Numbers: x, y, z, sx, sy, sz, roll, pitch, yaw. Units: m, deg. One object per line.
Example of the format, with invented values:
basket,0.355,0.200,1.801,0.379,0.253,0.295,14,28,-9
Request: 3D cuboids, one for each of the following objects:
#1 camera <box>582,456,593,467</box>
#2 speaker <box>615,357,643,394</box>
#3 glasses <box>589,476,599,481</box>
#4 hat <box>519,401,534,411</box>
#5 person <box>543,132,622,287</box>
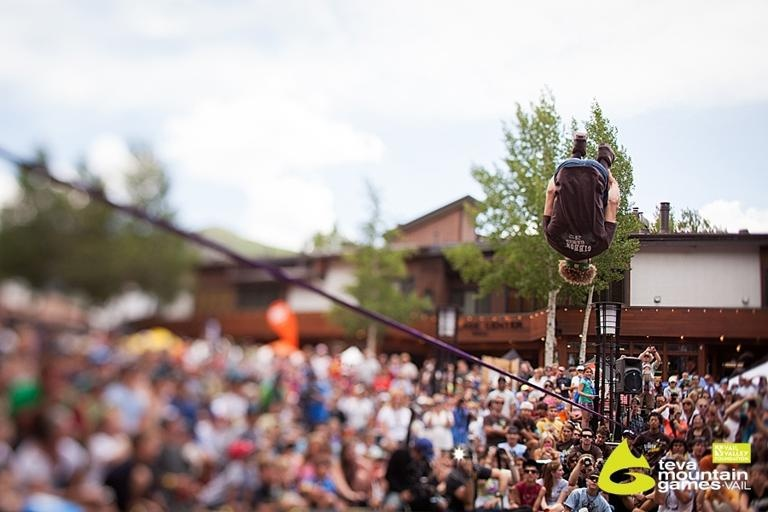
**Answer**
camera,2.681,2.694,12.610,0.112,0.051,0.116,26,6,13
speaker,3.440,1.674,13.376,0.341,0.505,0.274,7,-12,-20
glasses,2.709,2.874,12.383,0.094,0.084,0.125,2,-7,22
hat,1.985,2.091,13.356,0.120,0.134,0.152,0,-22,0
person,2.680,-0.587,13.093,1.019,2.031,0.605,4,-2,8
